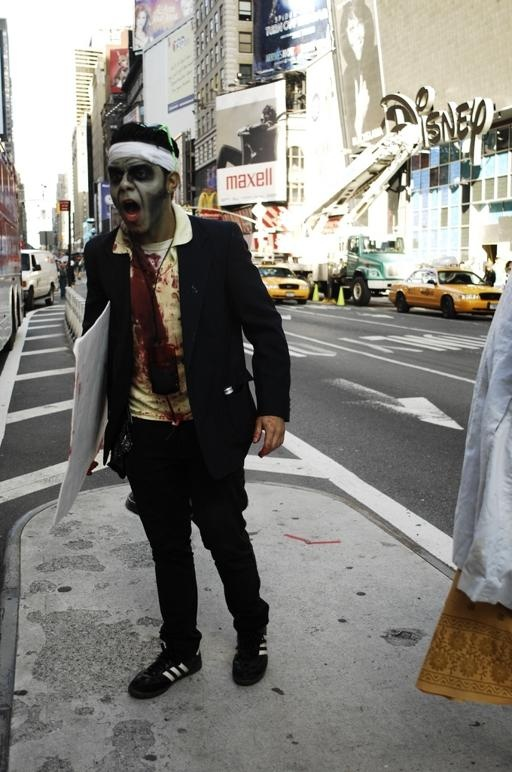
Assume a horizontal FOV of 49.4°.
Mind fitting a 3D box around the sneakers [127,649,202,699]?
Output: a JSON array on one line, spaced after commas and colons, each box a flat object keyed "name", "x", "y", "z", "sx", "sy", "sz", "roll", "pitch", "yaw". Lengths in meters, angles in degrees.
[{"name": "sneakers", "x": -0.304, "y": 0.938, "z": 1.874, "sx": 0.082, "sy": 0.111, "sz": 0.246, "roll": 6, "pitch": 1, "yaw": 38}]

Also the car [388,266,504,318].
[{"name": "car", "x": 7.547, "y": -3.753, "z": 22.070, "sx": 1.464, "sy": 2.118, "sz": 4.552, "roll": -1, "pitch": 4, "yaw": -26}]

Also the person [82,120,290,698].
[{"name": "person", "x": -0.254, "y": 0.128, "z": 1.784, "sx": 0.692, "sy": 1.793, "sz": 0.472, "roll": -3, "pitch": 7, "yaw": 0}]

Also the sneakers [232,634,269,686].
[{"name": "sneakers", "x": -0.023, "y": 0.927, "z": 1.889, "sx": 0.063, "sy": 0.079, "sz": 0.194, "roll": 0, "pitch": 3, "yaw": 1}]

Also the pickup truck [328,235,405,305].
[{"name": "pickup truck", "x": 5.719, "y": -5.897, "z": 28.345, "sx": 1.838, "sy": 3.580, "sz": 4.261, "roll": -2, "pitch": 4, "yaw": -39}]

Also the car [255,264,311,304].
[{"name": "car", "x": 1.458, "y": -5.654, "z": 28.952, "sx": 2.237, "sy": 2.082, "sz": 5.831, "roll": -1, "pitch": 6, "yaw": -10}]
